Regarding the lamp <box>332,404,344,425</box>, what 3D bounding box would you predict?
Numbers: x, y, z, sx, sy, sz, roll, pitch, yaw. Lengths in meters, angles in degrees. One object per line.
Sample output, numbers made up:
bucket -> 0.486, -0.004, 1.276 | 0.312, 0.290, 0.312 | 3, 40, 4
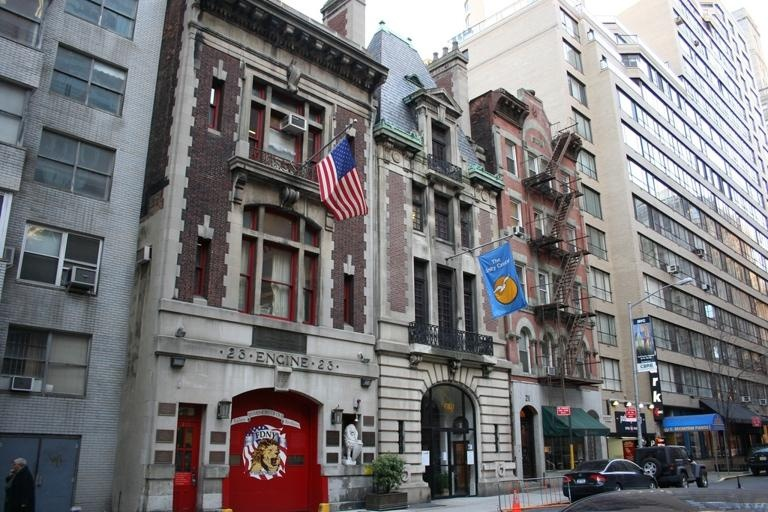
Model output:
lamp -> -2.279, 7.591, 29.997 | 0.603, 0.893, 0.345 | 7, -23, -20

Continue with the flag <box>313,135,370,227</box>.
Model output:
flag -> -1.969, -3.633, 29.323 | 2.060, 3.349, 1.529 | 17, -29, -39

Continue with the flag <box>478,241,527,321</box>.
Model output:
flag -> 6.220, 1.222, 33.389 | 1.931, 3.771, 0.883 | -14, -25, 29

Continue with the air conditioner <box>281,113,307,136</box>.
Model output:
air conditioner -> -4.556, -6.613, 31.462 | 1.195, 0.891, 0.961 | 12, -26, -30

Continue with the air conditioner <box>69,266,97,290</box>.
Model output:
air conditioner -> -12.968, 0.903, 27.000 | 1.072, 1.035, 0.540 | 11, -25, -28

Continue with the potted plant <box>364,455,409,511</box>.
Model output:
potted plant -> 0.199, 10.807, 29.968 | 2.103, 2.474, 1.808 | 7, -24, -21

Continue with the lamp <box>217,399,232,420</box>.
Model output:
lamp -> -6.940, 6.600, 26.951 | 0.674, 0.942, 0.684 | 15, -26, -40

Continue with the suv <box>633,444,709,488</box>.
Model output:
suv -> 16.781, 12.881, 36.841 | 3.058, 2.737, 5.702 | -12, -17, 40
